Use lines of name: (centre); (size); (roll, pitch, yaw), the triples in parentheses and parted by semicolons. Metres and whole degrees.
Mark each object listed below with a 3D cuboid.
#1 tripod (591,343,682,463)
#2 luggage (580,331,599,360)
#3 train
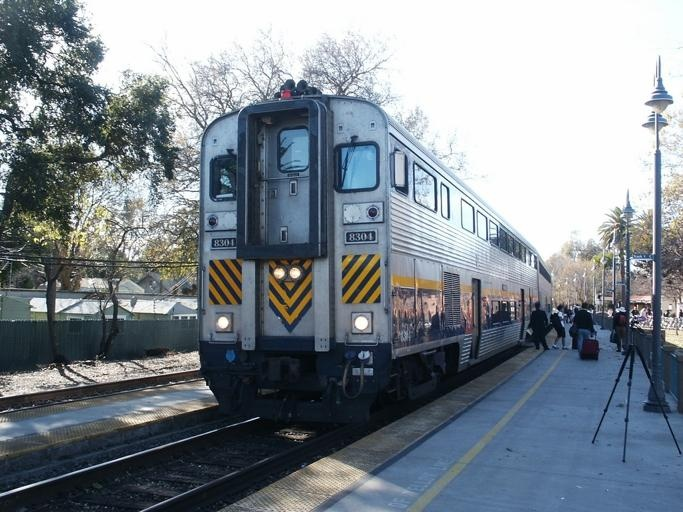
tripod: (5.887, 2.934, 11.592); (1.288, 1.930, 1.225); (5, -12, 3)
luggage: (8.712, 3.188, 20.598); (0.723, 0.744, 1.228); (-7, -1, 25)
train: (1.467, 0.200, 14.562); (2.778, 4.142, 11.531); (-1, 0, 25)
